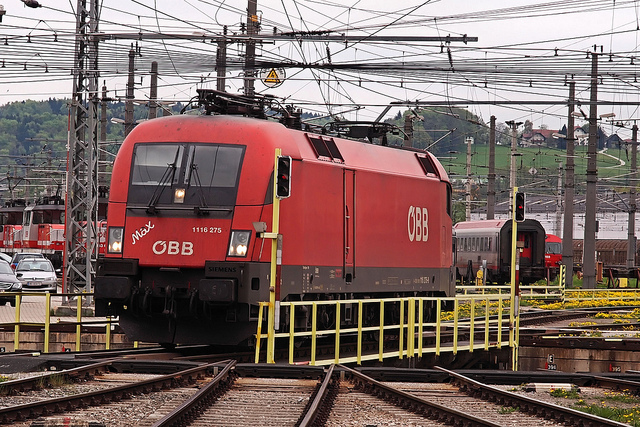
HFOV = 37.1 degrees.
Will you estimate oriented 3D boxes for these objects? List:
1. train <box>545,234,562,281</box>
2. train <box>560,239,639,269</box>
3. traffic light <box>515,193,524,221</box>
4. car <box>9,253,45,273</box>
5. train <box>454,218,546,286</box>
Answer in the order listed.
[{"bbox_3d":[15.232,2.876,62.727,1.028,3.019,4.014,0,-2,13],"label":"train"},{"bbox_3d":[21.709,2.965,72.938,4.522,1.904,9.528,0,-2,14],"label":"train"},{"bbox_3d":[5.989,-0.194,28.824,0.216,0.835,0.465,0,-2,19],"label":"traffic light"},{"bbox_3d":[-17.019,3.030,54.998,1.806,1.255,2.641,-1,7,-10],"label":"car"},{"bbox_3d":[11.894,2.167,57.364,3.371,3.568,10.890,0,-3,-19],"label":"train"}]
